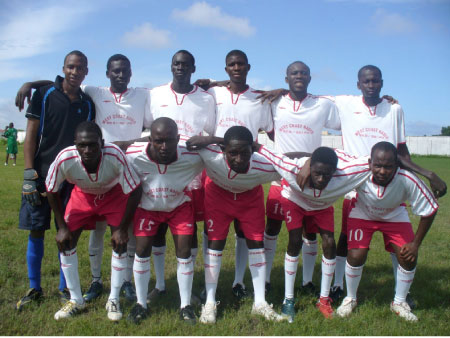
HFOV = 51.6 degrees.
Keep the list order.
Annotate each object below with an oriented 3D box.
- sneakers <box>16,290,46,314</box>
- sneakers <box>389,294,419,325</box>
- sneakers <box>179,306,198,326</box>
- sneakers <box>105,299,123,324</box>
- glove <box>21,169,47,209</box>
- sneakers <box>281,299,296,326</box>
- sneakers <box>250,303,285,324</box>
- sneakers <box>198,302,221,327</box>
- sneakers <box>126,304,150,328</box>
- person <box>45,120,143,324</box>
[{"bbox_3d":[-3.119,2.115,7.492,0.174,0.209,0.487,0,-1,19],"label":"sneakers"},{"bbox_3d":[2.870,2.301,7.478,0.169,0.197,0.451,-12,12,-30],"label":"sneakers"},{"bbox_3d":[-0.580,2.282,7.264,0.273,0.191,0.293,0,14,-6],"label":"sneakers"},{"bbox_3d":[-1.743,2.206,7.301,0.240,0.259,0.366,-3,14,-17],"label":"sneakers"},{"bbox_3d":[-3.103,0.313,7.628,0.414,0.592,0.212,-12,-11,38],"label":"glove"},{"bbox_3d":[1.011,2.259,7.447,0.133,0.167,0.388,3,21,-9],"label":"sneakers"},{"bbox_3d":[0.658,2.256,7.408,0.602,0.253,0.218,8,10,20],"label":"sneakers"},{"bbox_3d":[-0.265,2.260,7.333,0.281,0.224,0.471,2,14,3],"label":"sneakers"},{"bbox_3d":[-1.345,2.256,7.254,0.238,0.193,0.388,10,16,32],"label":"sneakers"},{"bbox_3d":[-2.109,0.746,7.448,1.333,2.975,0.943,-5,15,-23],"label":"person"}]
